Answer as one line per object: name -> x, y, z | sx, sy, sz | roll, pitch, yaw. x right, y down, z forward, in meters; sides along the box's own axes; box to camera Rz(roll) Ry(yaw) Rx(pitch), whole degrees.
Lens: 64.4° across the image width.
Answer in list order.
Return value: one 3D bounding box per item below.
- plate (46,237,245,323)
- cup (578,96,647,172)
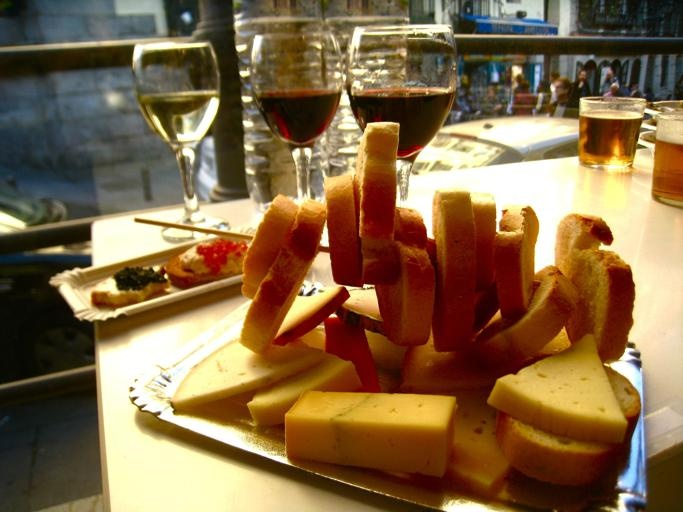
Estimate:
plate -> -0.292, 0.036, 0.826 | 0.243, 0.031, 0.152 | -18, 27, -33
cup -> 0.700, -0.324, 1.432 | 0.177, 0.202, 0.179 | 0, 14, 0
